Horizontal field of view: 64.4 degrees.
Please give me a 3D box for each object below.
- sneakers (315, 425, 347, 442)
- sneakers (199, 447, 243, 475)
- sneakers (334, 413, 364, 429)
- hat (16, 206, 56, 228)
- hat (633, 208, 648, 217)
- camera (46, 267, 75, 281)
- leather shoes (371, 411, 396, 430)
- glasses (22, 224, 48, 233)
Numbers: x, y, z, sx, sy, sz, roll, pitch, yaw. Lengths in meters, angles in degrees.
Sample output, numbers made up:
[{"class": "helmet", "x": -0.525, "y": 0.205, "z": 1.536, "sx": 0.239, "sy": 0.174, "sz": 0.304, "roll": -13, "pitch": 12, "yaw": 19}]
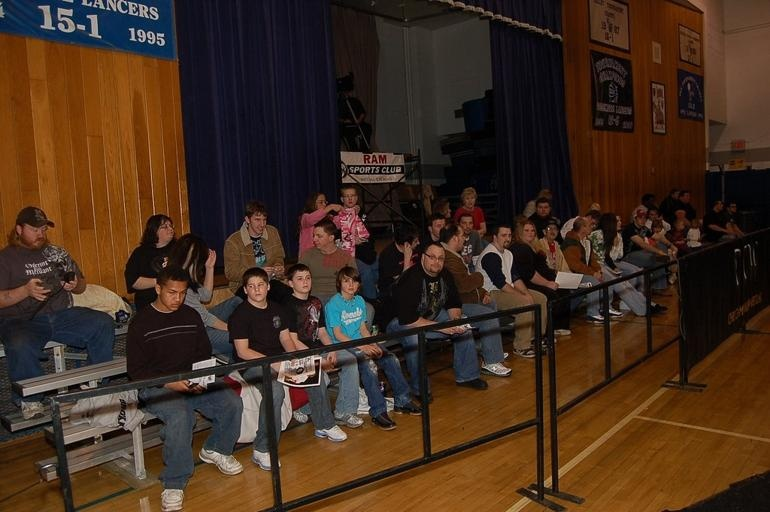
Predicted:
[{"class": "sneakers", "x": -0.618, "y": 2.060, "z": 7.102, "sx": 0.341, "sy": 0.161, "sz": 0.170, "roll": 4, "pitch": 6, "yaw": 24}, {"class": "sneakers", "x": -1.730, "y": 2.199, "z": 6.632, "sx": 0.489, "sy": 0.227, "sz": 0.212, "roll": 17, "pitch": 9, "yaw": 10}, {"class": "sneakers", "x": -0.407, "y": 1.965, "z": 7.327, "sx": 0.362, "sy": 0.176, "sz": 0.140, "roll": 1, "pitch": 3, "yaw": 13}, {"class": "hat", "x": -4.168, "y": -0.443, "z": 7.317, "sx": 0.395, "sy": 0.236, "sz": 0.262, "roll": -3, "pitch": 0, "yaw": 9}, {"class": "hat", "x": 5.299, "y": -0.926, "z": 12.614, "sx": 0.252, "sy": 0.116, "sz": 0.383, "roll": -4, "pitch": 16, "yaw": 40}, {"class": "camera", "x": -3.861, "y": 0.236, "z": 7.356, "sx": 0.280, "sy": 0.118, "sz": 0.203, "roll": 10, "pitch": 6, "yaw": 25}, {"class": "leather shoes", "x": -0.016, "y": 1.969, "z": 7.297, "sx": 0.333, "sy": 0.147, "sz": 0.132, "roll": 0, "pitch": 2, "yaw": 42}, {"class": "glasses", "x": -4.150, "y": -0.332, "z": 7.307, "sx": 0.243, "sy": 0.113, "sz": 0.152, "roll": 1, "pitch": 9, "yaw": -10}]
